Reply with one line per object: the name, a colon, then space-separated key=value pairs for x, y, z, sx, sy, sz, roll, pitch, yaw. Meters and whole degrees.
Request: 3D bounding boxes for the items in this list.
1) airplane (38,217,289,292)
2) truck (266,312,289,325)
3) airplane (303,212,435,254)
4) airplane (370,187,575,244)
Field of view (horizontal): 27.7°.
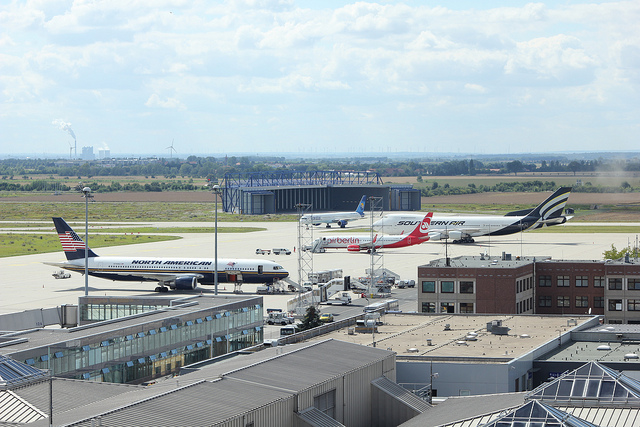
airplane: x=-19.753 y=4.812 z=163.667 sx=27.274 sy=8.083 sz=4.109 roll=-3 pitch=1 yaw=10
truck: x=-4.804 y=11.505 z=144.731 sx=2.167 sy=1.001 sz=1.142 roll=0 pitch=3 yaw=8
airplane: x=8.495 y=2.925 z=207.239 sx=12.390 sy=4.782 sz=22.523 roll=-2 pitch=1 yaw=33
airplane: x=25.417 y=0.274 z=218.337 sx=32.920 sy=7.979 sz=24.254 roll=-1 pitch=-4 yaw=0
